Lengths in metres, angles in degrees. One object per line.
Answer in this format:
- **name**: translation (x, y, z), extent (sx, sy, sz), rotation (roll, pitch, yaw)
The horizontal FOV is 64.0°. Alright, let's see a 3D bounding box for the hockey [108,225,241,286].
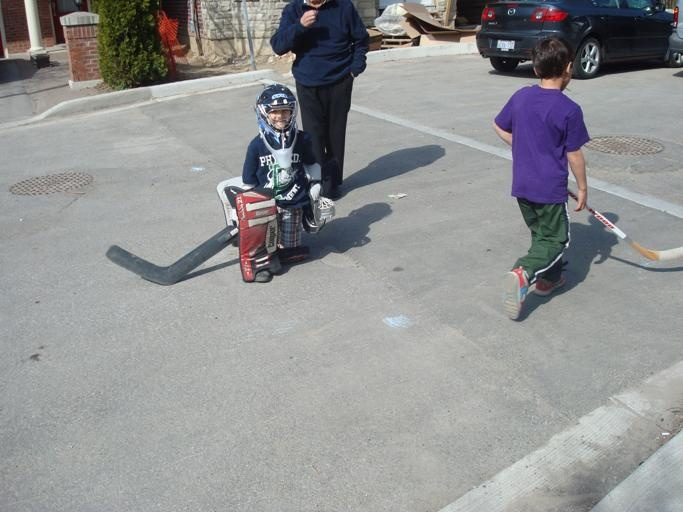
- **hockey**: translation (-1.484, -0.056, 4.523), extent (1.193, 0.457, 0.407), rotation (10, 27, 22)

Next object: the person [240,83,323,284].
- **person**: translation (-0.549, -0.599, 4.401), extent (0.491, 1.475, 0.904), rotation (16, 30, 30)

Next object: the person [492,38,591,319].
- **person**: translation (1.354, -0.502, 3.697), extent (0.657, 1.818, 0.927), rotation (4, 26, 10)

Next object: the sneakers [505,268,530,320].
- **sneakers**: translation (1.152, 0.236, 3.675), extent (0.132, 0.362, 0.174), rotation (13, 33, 35)

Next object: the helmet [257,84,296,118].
- **helmet**: translation (-0.523, -1.245, 4.347), extent (0.260, 0.257, 0.311), rotation (-3, 26, -13)
